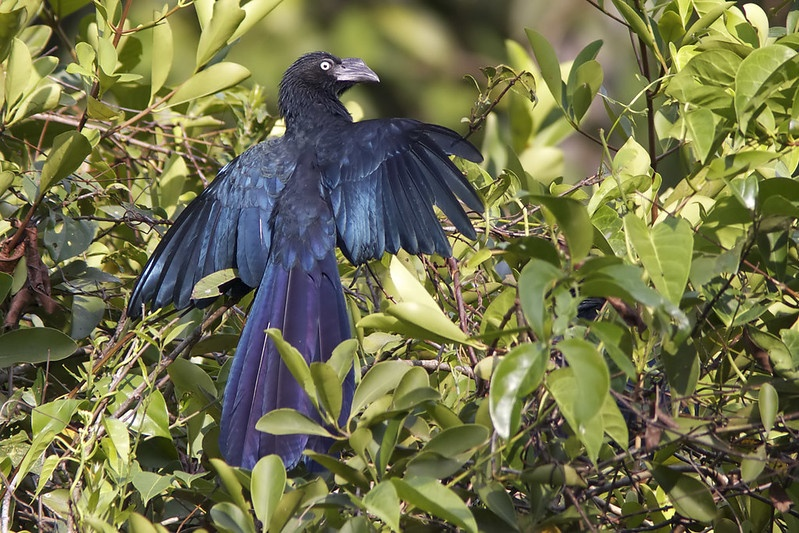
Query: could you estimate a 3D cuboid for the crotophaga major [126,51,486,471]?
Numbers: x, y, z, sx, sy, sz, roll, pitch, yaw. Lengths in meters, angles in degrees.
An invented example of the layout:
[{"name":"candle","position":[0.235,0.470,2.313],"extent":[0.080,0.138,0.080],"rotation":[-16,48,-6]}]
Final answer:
[{"name":"crotophaga major","position":[-0.417,-0.036,4.433],"extent":[1.209,1.584,0.610],"rotation":[-1,-37,17]}]
